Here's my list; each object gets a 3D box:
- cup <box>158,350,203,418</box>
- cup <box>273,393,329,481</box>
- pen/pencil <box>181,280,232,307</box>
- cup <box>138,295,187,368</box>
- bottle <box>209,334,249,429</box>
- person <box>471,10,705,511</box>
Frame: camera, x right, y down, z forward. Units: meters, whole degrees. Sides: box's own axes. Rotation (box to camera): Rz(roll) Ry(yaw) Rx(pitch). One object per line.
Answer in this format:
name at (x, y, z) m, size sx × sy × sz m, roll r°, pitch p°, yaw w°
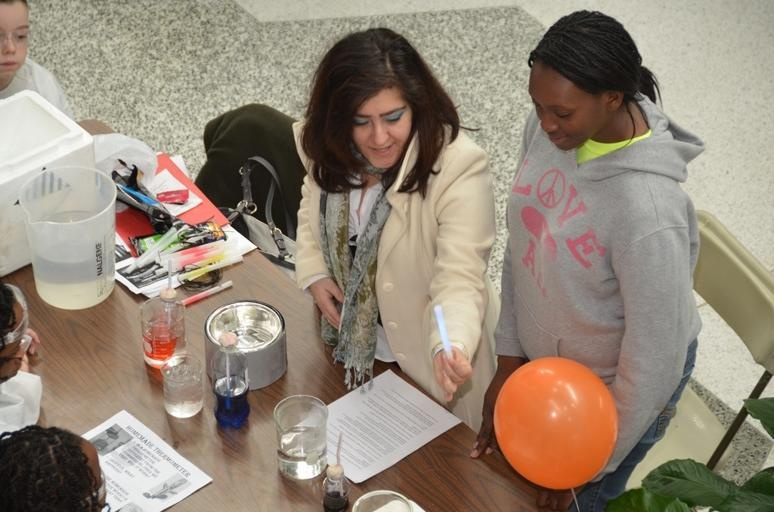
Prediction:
cup at (-0.603, 0.386, 1.846) m, size 0.124 × 0.146 × 0.129 m, roll 1°, pitch 8°, yaw 0°
cup at (-0.220, 0.485, 1.779) m, size 0.184 × 0.221 × 0.209 m, roll -2°, pitch 35°, yaw -3°
pen/pencil at (-0.619, 0.132, 2.130) m, size 0.145 × 0.021 × 0.022 m, roll -26°, pitch 67°, yaw -23°
cup at (-0.698, 0.245, 1.959) m, size 0.134 × 0.217 × 0.137 m, roll 2°, pitch 8°, yaw 0°
bottle at (-0.451, 0.353, 1.795) m, size 0.098 × 0.254 × 0.163 m, roll -4°, pitch 35°, yaw -14°
person at (0.632, -0.041, 1.853) m, size 0.352 × 1.175 × 0.742 m, roll -16°, pitch 40°, yaw -29°
